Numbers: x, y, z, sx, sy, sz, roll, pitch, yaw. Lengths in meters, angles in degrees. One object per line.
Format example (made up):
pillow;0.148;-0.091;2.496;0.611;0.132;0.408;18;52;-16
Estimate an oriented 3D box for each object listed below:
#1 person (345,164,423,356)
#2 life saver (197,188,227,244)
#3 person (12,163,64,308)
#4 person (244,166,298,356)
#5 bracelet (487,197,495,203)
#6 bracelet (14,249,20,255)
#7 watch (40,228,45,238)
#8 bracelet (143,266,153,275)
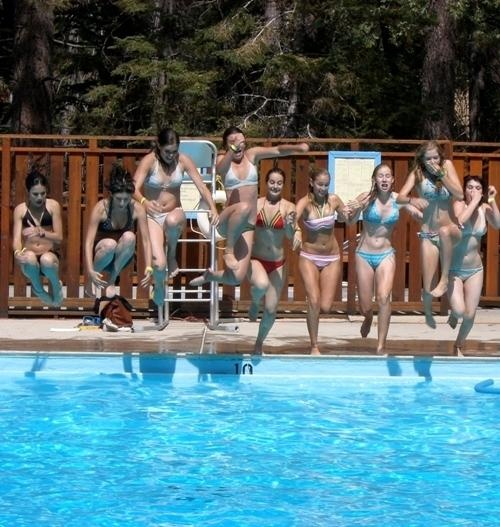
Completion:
person;1.060;-0.018;7.631;0.520;1.610;0.708;5;9;24
life saver;-0.471;-0.419;9.295;0.403;0.449;0.111;30;20;31
person;-1.947;-0.213;8.349;0.422;1.338;1.479;-1;9;-14
person;0.201;0.005;7.308;0.387;1.518;0.567;1;8;2
bracelet;1.992;-0.525;7.509;0.058;0.068;0.064;-2;6;1
bracelet;-1.950;-0.088;7.633;0.026;0.053;0.047;3;6;35
watch;-1.793;-0.247;7.899;0.039;0.074;0.061;1;2;-2
bracelet;-0.832;0.055;7.486;0.044;0.071;0.023;8;10;6
